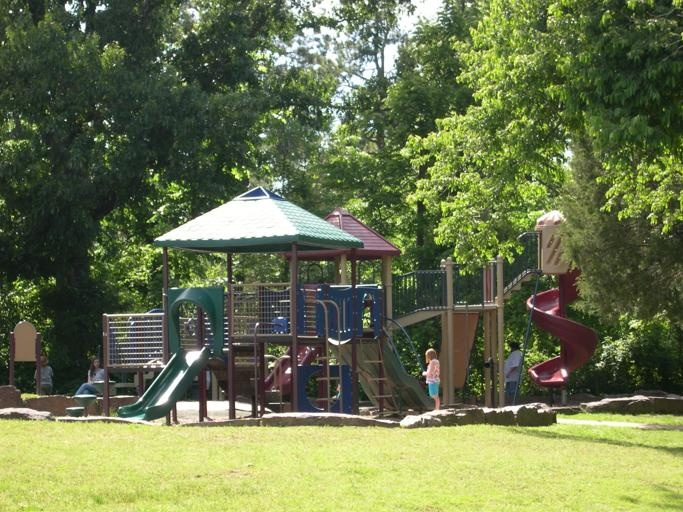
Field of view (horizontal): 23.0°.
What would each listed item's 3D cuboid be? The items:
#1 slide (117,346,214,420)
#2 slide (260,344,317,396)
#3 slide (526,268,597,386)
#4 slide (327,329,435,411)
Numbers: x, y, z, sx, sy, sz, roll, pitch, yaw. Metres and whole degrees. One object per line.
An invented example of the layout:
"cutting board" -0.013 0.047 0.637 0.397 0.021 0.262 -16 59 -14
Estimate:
"slide" -4.831 3.467 46.172 2.556 1.676 1.334 -12 7 -43
"slide" -1.826 3.442 50.582 1.167 1.626 1.146 -2 -2 31
"slide" 6.871 2.549 53.042 1.644 4.401 1.714 -1 -3 -43
"slide" 1.209 3.454 50.586 2.093 2.419 2.804 0 -1 -39
